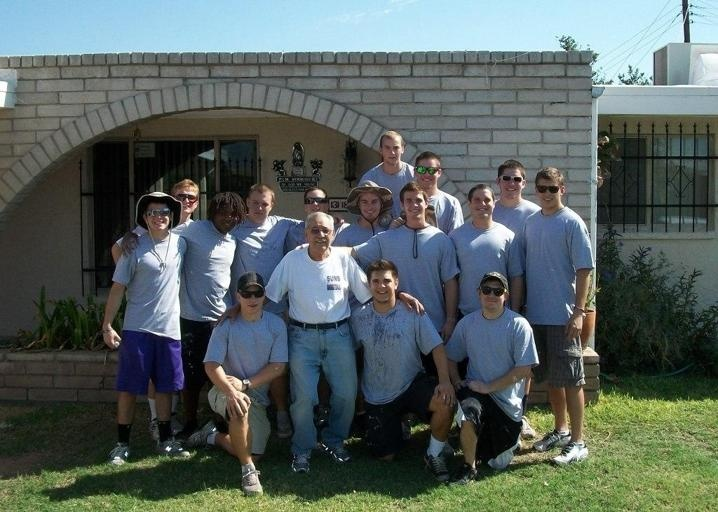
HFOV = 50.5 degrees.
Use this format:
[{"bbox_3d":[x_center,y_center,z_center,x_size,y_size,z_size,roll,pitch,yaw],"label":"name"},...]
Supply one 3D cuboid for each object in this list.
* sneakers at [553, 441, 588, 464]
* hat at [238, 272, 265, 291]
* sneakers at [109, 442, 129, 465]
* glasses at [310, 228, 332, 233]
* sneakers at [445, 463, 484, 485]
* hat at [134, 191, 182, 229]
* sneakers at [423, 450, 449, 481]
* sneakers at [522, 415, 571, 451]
[{"bbox_3d":[2.036,1.887,7.292,0.404,0.147,0.134,-1,0,-23],"label":"sneakers"},{"bbox_3d":[-1.043,0.241,7.238,0.238,0.159,0.135,-1,0,-14],"label":"hat"},{"bbox_3d":[-2.342,1.910,7.361,0.179,0.217,0.202,-1,0,-12],"label":"sneakers"},{"bbox_3d":[-0.368,-0.239,7.216,0.180,0.042,0.040,-1,0,-4],"label":"glasses"},{"bbox_3d":[0.967,2.013,7.057,0.316,0.150,0.121,-4,1,-40],"label":"sneakers"},{"bbox_3d":[-1.991,-0.450,7.535,0.432,0.353,0.324,-1,0,-17],"label":"hat"},{"bbox_3d":[0.736,1.959,7.113,0.108,0.133,0.324,1,16,-25],"label":"sneakers"},{"bbox_3d":[1.852,1.777,7.525,0.446,0.211,0.172,-15,31,-11],"label":"sneakers"}]
